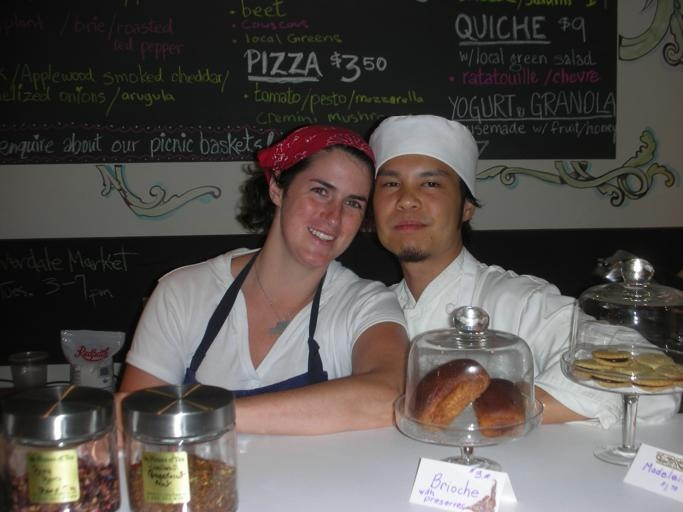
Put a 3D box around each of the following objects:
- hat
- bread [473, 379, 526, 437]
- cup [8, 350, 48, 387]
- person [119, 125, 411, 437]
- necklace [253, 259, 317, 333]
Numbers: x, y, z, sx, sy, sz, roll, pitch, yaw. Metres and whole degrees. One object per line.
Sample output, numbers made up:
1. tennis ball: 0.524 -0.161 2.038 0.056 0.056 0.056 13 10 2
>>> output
1. hat: 0.326 -0.411 2.269 0.423 0.244 0.413 0 -7 20
2. bread: 0.363 0.347 1.302 0.118 0.068 0.134 2 19 -6
3. cup: -1.369 0.521 2.412 0.152 0.175 0.155 -1 0 0
4. person: -0.248 0.015 1.811 0.910 0.932 0.676 -1 3 14
5. necklace: -0.235 0.162 1.997 0.142 0.267 0.070 11 -11 2
